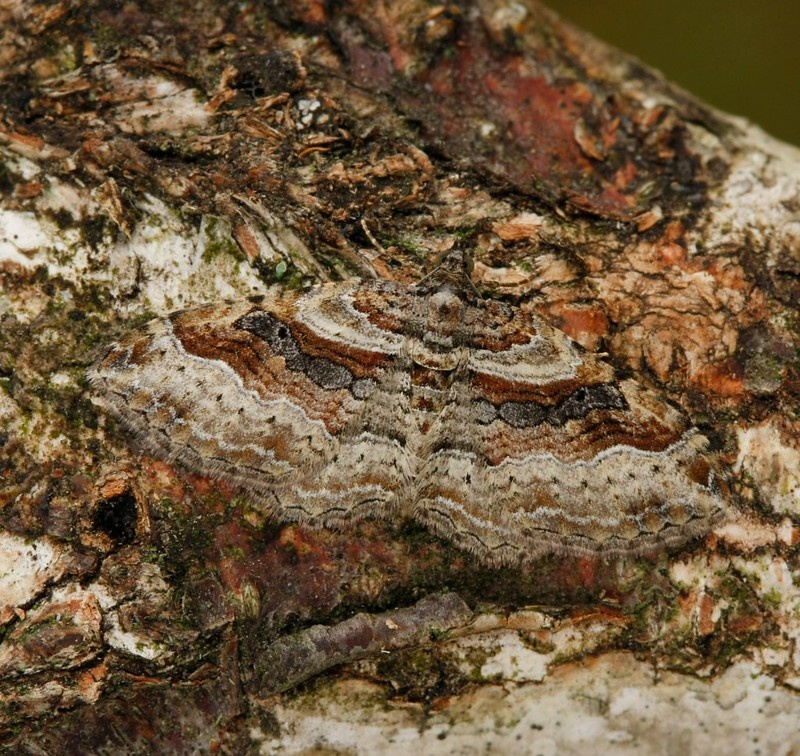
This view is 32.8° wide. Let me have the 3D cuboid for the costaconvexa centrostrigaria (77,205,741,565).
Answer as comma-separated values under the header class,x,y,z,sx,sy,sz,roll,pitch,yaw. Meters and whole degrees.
class,x,y,z,sx,sy,sz,roll,pitch,yaw
costaconvexa centrostrigaria,0.045,0.101,7.394,3.618,1.857,0.407,16,-1,2
